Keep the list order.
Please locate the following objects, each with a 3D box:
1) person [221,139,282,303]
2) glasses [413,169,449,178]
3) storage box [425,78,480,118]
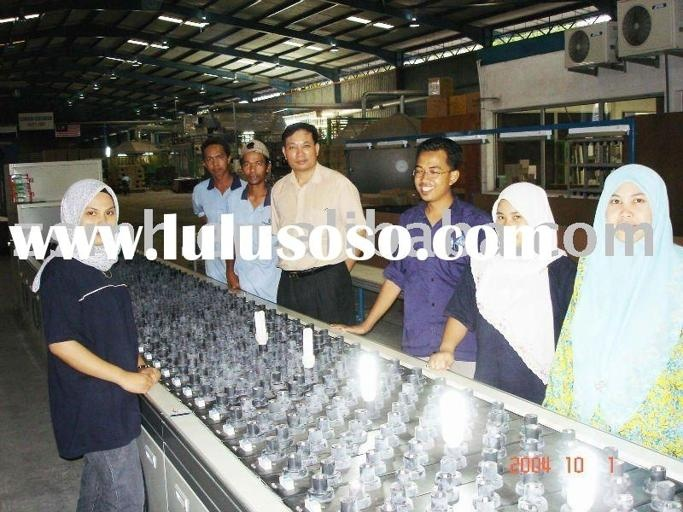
[{"bbox_3d":[-0.681,-0.178,4.535,0.527,1.506,0.428,7,33,4],"label":"person"},{"bbox_3d":[0.449,-0.433,2.941,0.176,0.045,0.081,7,14,36],"label":"glasses"},{"bbox_3d":[2.375,-3.432,12.245,0.709,0.855,1.274,-4,12,-12],"label":"storage box"}]
